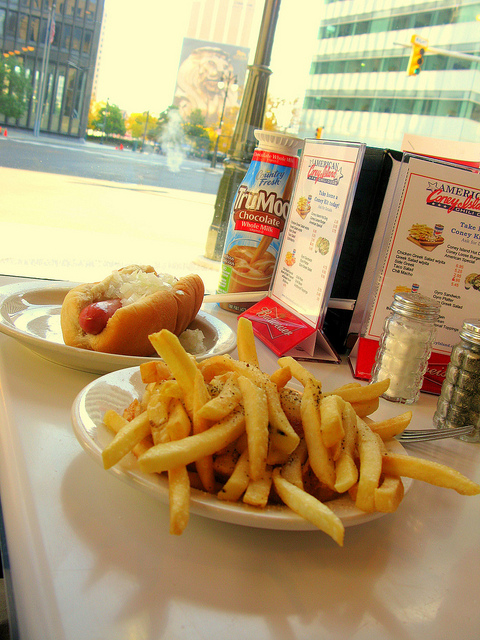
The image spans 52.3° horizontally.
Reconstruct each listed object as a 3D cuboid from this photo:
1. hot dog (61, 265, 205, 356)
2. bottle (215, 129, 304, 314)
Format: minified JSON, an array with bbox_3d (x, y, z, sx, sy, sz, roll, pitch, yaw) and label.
[{"bbox_3d":[-0.204,-0.026,1.011,0.171,0.110,0.328,6,13,19],"label":"hot dog"},{"bbox_3d":[0.053,-0.280,1.424,0.204,0.495,0.196,12,11,-2],"label":"bottle"}]
